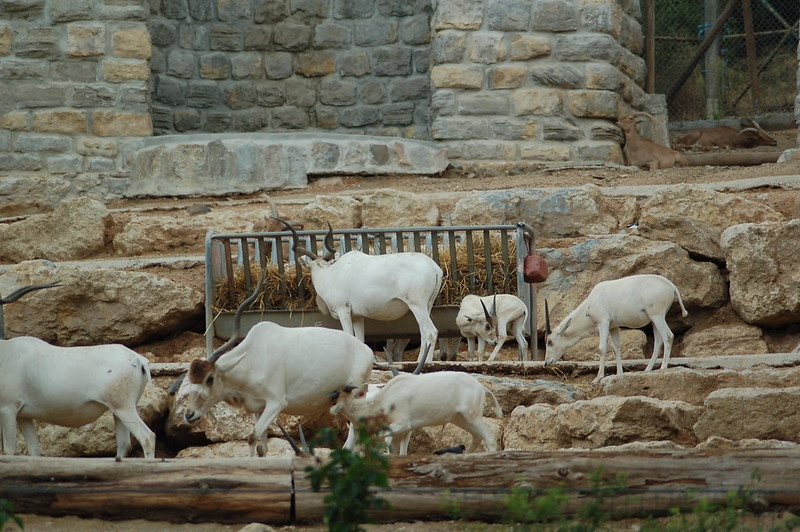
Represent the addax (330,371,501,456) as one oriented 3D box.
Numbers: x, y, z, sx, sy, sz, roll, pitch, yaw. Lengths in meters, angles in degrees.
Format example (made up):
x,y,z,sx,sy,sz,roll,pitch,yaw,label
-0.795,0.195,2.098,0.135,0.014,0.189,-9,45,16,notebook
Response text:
x,y,z,sx,sy,sz,roll,pitch,yaw,label
0.164,1.854,20.431,2.087,1.168,0.672,-3,3,1,addax
